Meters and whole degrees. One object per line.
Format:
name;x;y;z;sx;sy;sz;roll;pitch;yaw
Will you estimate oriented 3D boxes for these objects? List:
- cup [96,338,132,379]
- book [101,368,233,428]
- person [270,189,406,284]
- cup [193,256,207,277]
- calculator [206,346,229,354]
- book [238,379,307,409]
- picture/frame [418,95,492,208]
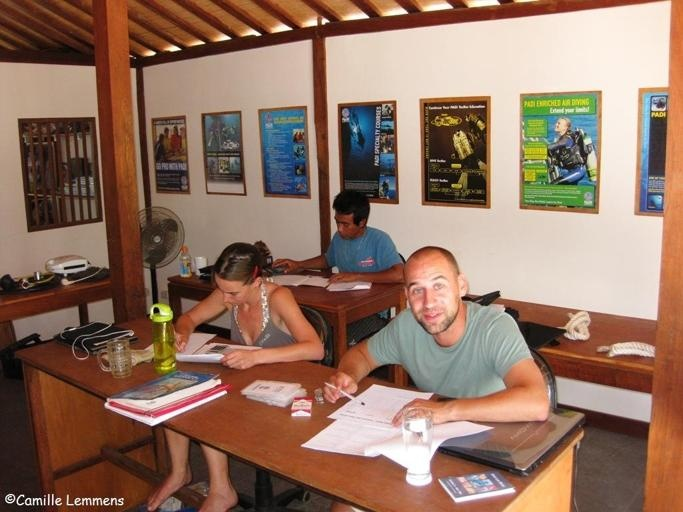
cup;-1.203;0.544;2.695;0.186;0.180;0.121;-6;-1;-22
book;-0.854;0.645;2.393;0.317;0.069;0.330;5;12;33
person;0.053;-0.058;4.963;1.242;1.051;0.861;6;14;40
cup;-1.445;0.107;5.139;0.159;0.173;0.111;4;12;2
calculator;-0.705;0.525;2.880;0.125;0.007;0.095;2;13;21
book;-0.314;0.637;2.441;0.292;0.054;0.212;4;14;28
picture/frame;1.074;-0.985;4.835;0.696;1.011;0.119;8;16;41
